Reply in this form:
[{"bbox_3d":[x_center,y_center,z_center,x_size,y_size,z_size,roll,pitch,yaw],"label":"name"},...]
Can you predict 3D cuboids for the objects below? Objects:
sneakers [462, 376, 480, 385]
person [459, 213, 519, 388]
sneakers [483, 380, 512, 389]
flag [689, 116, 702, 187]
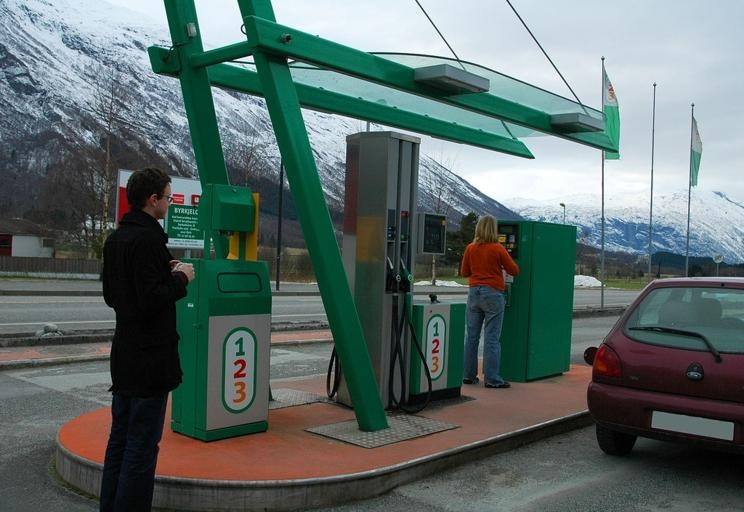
[{"bbox_3d":[1.515,1.895,9.966,0.247,0.117,0.090,-3,4,-29],"label":"sneakers"},{"bbox_3d":[1.720,0.686,9.765,0.755,2.553,0.471,0,1,7],"label":"person"},{"bbox_3d":[1.884,1.907,9.733,0.377,0.178,0.136,-2,1,-1],"label":"sneakers"},{"bbox_3d":[17.065,-5.485,34.528,0.443,3.745,1.789,1,1,26],"label":"flag"}]
